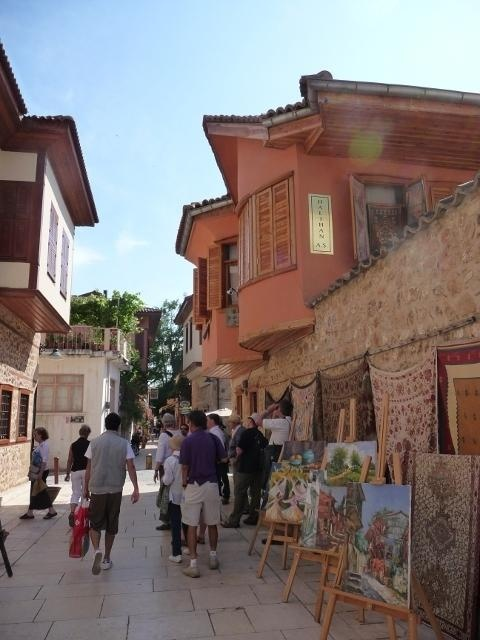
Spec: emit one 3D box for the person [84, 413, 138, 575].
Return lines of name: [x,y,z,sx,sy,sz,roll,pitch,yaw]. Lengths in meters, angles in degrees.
person: [-1.396,1.834,5.355,0.547,1.633,0.397,6,-12,-22]

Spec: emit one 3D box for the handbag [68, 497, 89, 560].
handbag: [-1.664,2.179,5.160,0.180,0.571,0.488,4,-13,-17]

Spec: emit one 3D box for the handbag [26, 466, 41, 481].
handbag: [-3.545,2.652,8.537,0.142,0.255,0.391,10,-16,-38]

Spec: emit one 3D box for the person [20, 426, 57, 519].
person: [-3.592,2.743,8.944,0.565,1.570,1.506,6,-13,-23]

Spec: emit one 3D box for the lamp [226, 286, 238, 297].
lamp: [-0.200,-0.828,14.138,0.166,0.275,0.413,-7,-19,39]

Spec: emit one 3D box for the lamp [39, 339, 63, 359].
lamp: [-7.726,1.160,20.292,0.565,0.756,0.606,-17,-28,32]
